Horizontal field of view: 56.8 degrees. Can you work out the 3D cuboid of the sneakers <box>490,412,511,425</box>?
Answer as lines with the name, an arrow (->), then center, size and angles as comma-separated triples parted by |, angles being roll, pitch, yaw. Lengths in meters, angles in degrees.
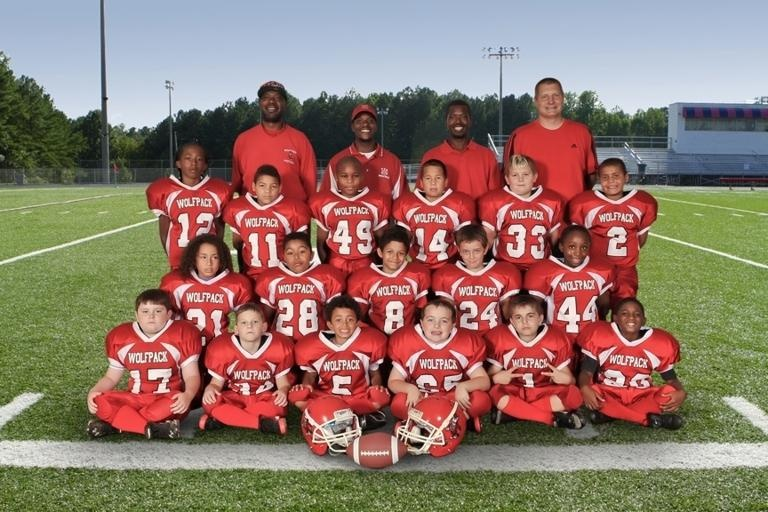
sneakers -> 0.828, 1.136, 5.016 | 0.145, 0.085, 0.047 | -1, 11, 1

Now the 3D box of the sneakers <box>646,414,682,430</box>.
sneakers -> 1.933, 1.132, 4.877 | 0.247, 0.095, 0.104 | 1, 7, 30

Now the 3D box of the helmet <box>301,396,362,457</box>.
helmet -> -0.351, 1.087, 4.693 | 0.315, 0.284, 0.386 | 2, 6, -31

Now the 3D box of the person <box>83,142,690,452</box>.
person -> -0.030, -0.163, 5.800 | 3.941, 1.506, 0.894 | -1, 11, -2

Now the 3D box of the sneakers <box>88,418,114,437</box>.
sneakers -> -1.948, 1.170, 4.840 | 0.143, 0.108, 0.056 | 10, -8, -35

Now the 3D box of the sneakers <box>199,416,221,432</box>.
sneakers -> -1.214, 1.152, 4.895 | 0.126, 0.064, 0.095 | 5, 15, 17

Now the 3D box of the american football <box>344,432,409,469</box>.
american football -> -0.066, 1.254, 4.599 | 0.406, 0.245, 0.242 | -3, -4, 3

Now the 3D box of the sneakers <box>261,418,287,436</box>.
sneakers -> -0.765, 1.156, 4.844 | 0.228, 0.096, 0.083 | 1, 2, 27

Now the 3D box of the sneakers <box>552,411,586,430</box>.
sneakers -> 1.280, 1.130, 4.916 | 0.241, 0.093, 0.093 | 5, 9, 0

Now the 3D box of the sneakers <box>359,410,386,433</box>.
sneakers -> -0.094, 1.171, 4.972 | 0.236, 0.083, 0.082 | 3, 4, -30
